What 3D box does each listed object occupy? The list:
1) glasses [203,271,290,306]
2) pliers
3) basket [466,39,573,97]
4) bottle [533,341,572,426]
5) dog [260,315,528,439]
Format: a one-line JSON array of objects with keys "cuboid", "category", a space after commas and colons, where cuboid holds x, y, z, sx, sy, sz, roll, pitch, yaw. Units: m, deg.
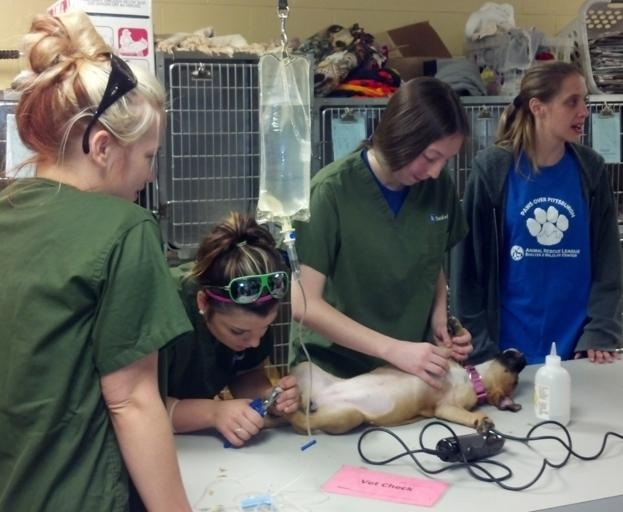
[{"cuboid": [-0.165, 0.078, 1.612, 0.098, 0.048, 0.125, -6, 4, -38], "category": "glasses"}, {"cuboid": [-0.144, 0.415, 1.633, 0.037, 0.047, 0.169, 30, 52, 26], "category": "pliers"}, {"cuboid": [1.047, -1.002, 3.373, 0.564, 0.398, 0.422, 0, 16, -1], "category": "basket"}, {"cuboid": [0.614, 0.336, 1.684, 0.074, 0.223, 0.086, -1, 13, -16], "category": "bottle"}, {"cuboid": [0.219, 0.390, 1.765, 0.724, 0.218, 0.432, -6, 16, 7], "category": "dog"}]
